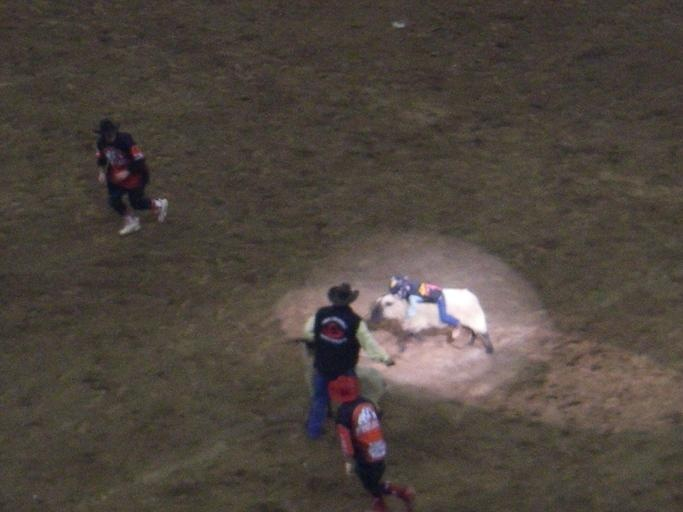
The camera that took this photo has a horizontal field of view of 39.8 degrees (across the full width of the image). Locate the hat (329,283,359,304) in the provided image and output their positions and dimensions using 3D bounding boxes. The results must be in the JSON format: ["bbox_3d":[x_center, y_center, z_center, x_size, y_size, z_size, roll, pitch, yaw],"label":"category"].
[{"bbox_3d":[0.037,0.685,16.622,0.505,0.518,0.401,-10,75,-2],"label":"hat"}]

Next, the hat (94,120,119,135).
[{"bbox_3d":[-4.528,-2.467,18.257,0.356,0.339,0.289,3,75,1],"label":"hat"}]

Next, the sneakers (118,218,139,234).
[{"bbox_3d":[-4.361,-0.580,19.402,0.387,0.254,0.111,-28,35,14],"label":"sneakers"}]

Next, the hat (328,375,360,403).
[{"bbox_3d":[0.071,2.397,16.656,0.554,0.817,0.477,-10,76,-2],"label":"hat"}]
